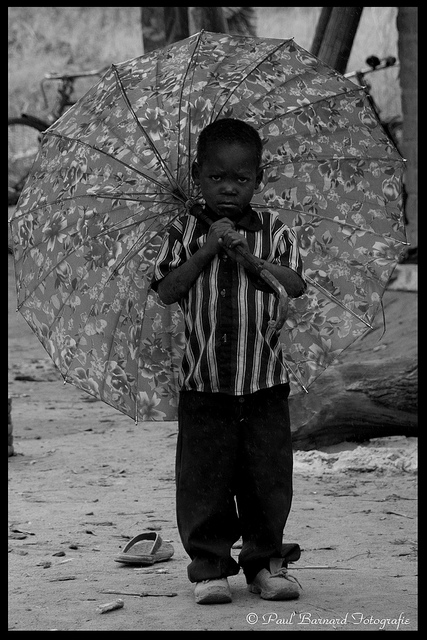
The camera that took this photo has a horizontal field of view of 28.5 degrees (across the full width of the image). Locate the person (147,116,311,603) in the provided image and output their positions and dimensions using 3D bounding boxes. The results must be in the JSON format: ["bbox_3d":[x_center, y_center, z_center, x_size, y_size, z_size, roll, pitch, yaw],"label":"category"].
[{"bbox_3d":[0.036,0.117,2.532,0.466,1.448,0.402,2,2,18],"label":"person"}]

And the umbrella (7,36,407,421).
[{"bbox_3d":[-0.094,-0.332,3.184,1.334,1.236,0.866,-5,0,-10],"label":"umbrella"}]
